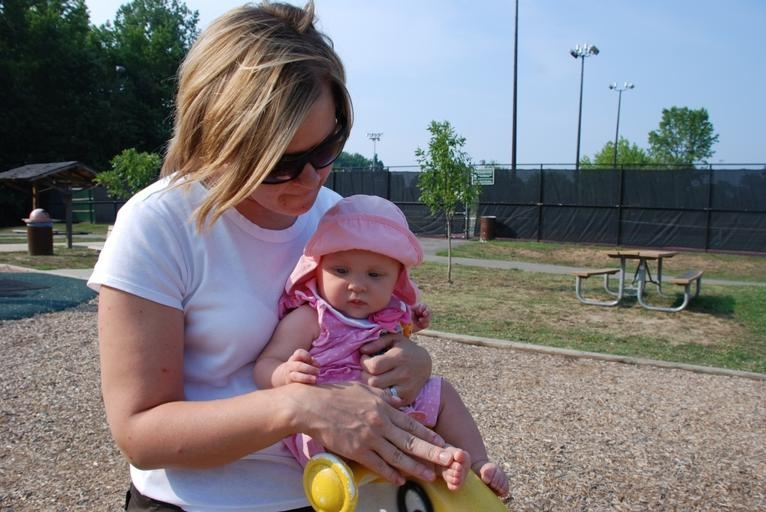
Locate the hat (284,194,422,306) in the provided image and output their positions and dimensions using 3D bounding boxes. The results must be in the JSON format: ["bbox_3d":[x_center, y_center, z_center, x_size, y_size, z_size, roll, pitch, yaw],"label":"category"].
[{"bbox_3d":[-0.122,0.005,3.879,0.623,0.546,0.672,6,-9,-14],"label":"hat"}]

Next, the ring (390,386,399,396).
[{"bbox_3d":[0.063,0.769,3.731,0.037,0.045,0.043,3,6,5],"label":"ring"}]

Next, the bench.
[{"bbox_3d":[4.929,0.473,12.446,1.930,0.789,2.589,8,15,30],"label":"bench"}]
